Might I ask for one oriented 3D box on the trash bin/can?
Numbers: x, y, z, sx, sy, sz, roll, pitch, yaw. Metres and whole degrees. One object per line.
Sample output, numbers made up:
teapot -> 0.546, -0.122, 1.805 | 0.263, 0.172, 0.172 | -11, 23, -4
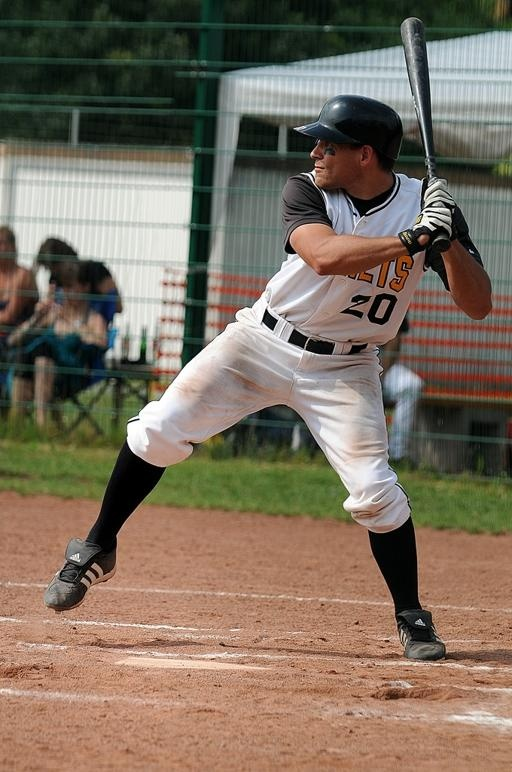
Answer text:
trash bin/can -> 1.222, 0.360, 6.405 | 0.489, 0.261, 0.437 | 2, 20, 7

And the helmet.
helmet -> 0.261, -0.746, 2.788 | 0.280, 0.126, 0.195 | 15, 8, -4

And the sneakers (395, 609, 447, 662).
sneakers -> 0.492, 0.731, 2.780 | 0.121, 0.109, 0.176 | 1, 12, -6

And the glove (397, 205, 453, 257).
glove -> 0.462, -0.403, 2.513 | 0.138, 0.055, 0.126 | -8, 39, 18

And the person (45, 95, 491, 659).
person -> 0.110, -0.062, 2.877 | 1.108, 1.596, 0.481 | 5, 13, 14
